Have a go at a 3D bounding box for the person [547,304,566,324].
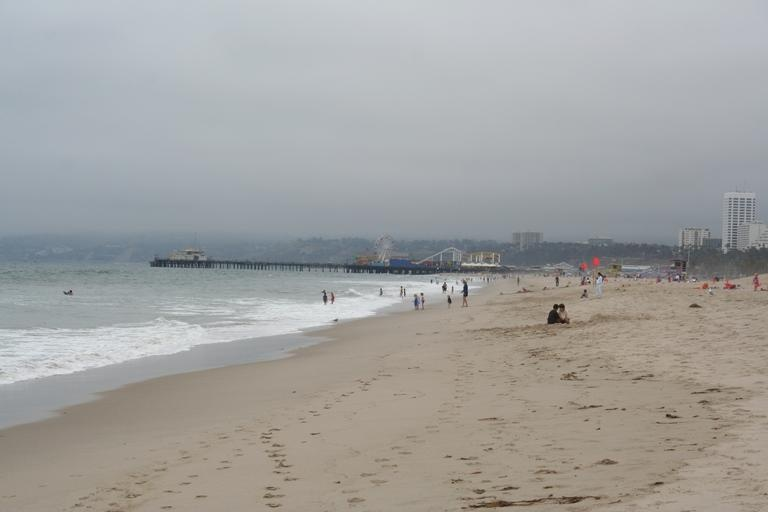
[{"bbox_3d":[6.224,2.080,29.260,0.870,0.786,0.696,-2,2,-5],"label":"person"}]
